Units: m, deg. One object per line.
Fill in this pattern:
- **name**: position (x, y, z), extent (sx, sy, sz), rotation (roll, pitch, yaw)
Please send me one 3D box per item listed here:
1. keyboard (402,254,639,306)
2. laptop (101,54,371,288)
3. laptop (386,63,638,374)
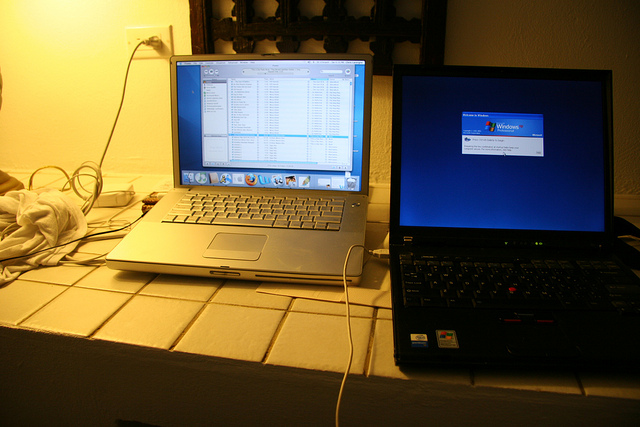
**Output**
- **keyboard**: position (0.363, 0.127, 0.904), extent (0.418, 0.073, 0.117), rotation (3, 13, 0)
- **laptop**: position (-0.148, -0.114, 0.991), extent (0.490, 0.330, 0.394), rotation (2, 27, 7)
- **laptop**: position (0.350, 0.039, 0.991), extent (0.536, 0.403, 0.561), rotation (1, 39, 7)
